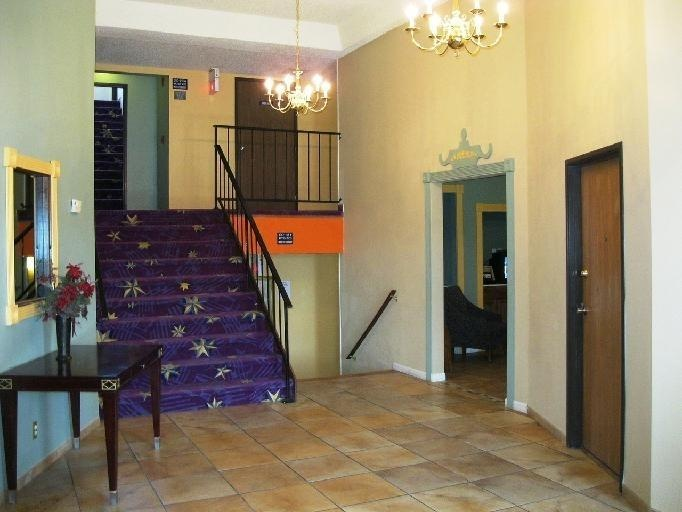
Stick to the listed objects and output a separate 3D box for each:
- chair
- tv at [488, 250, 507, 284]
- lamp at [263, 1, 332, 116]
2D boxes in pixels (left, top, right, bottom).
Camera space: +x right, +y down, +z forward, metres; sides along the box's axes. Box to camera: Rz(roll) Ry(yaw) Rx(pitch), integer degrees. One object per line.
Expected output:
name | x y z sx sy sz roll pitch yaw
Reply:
chair | 1.984 1.075 8.512 0.907 1.137 1.571 1 4 11
tv | 2.793 0.205 10.182 0.304 0.586 0.208 0 4 -7
lamp | -0.637 -2.767 8.782 1.107 1.600 3.603 0 4 -7
